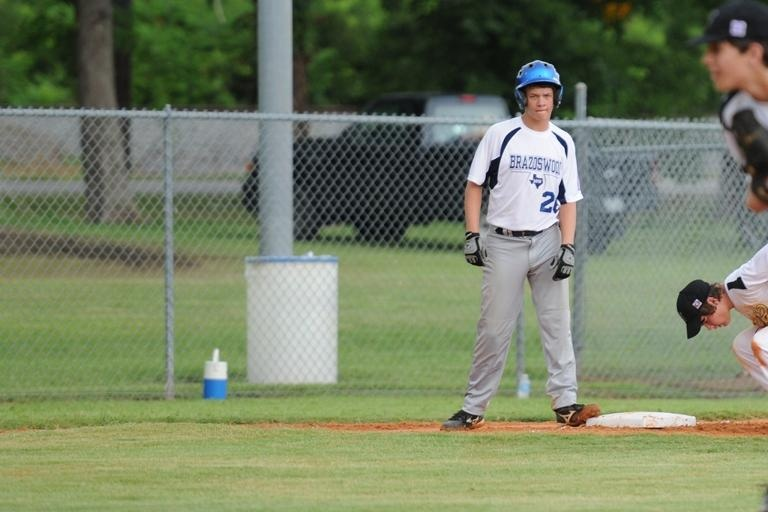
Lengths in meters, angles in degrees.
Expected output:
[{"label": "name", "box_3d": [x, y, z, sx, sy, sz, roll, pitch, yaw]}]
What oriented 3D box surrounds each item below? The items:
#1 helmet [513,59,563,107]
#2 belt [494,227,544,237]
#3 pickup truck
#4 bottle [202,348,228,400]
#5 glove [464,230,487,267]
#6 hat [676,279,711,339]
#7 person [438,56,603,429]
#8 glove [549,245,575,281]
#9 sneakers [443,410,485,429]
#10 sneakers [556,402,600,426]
[{"label": "helmet", "box_3d": [1.720, -1.870, 18.742, 0.490, 0.555, 0.478, 2, 11, 7]}, {"label": "belt", "box_3d": [1.473, -0.250, 18.571, 0.518, 0.105, 0.059, 2, 11, 3]}, {"label": "pickup truck", "box_3d": [0.851, -0.908, 20.828, 4.502, 1.655, 2.221, 1, 3, 7]}, {"label": "bottle", "box_3d": [-1.961, 1.360, 19.599, 0.288, 0.576, 0.185, 2, 11, 4]}, {"label": "glove", "box_3d": [0.962, -0.082, 18.634, 0.262, 0.337, 0.153, 4, 0, -29]}, {"label": "hat", "box_3d": [3.356, 0.546, 18.390, 0.321, 0.585, 0.399, 29, -15, -11]}, {"label": "person", "box_3d": [1.565, -0.080, 18.692, 1.389, 4.048, 0.740, 1, 11, 2]}, {"label": "glove", "box_3d": [1.992, 0.087, 18.571, 0.281, 0.346, 0.137, 15, -2, 36]}, {"label": "sneakers", "box_3d": [0.880, 1.818, 18.743, 0.450, 0.204, 0.191, 2, -6, -12]}, {"label": "sneakers", "box_3d": [2.121, 1.740, 18.885, 0.566, 0.239, 0.206, -10, 14, -3]}]
